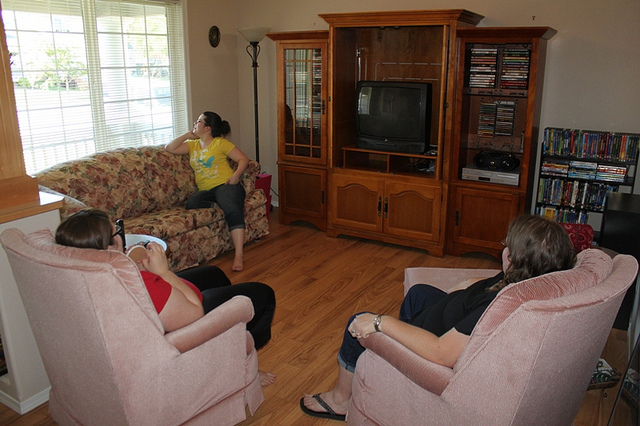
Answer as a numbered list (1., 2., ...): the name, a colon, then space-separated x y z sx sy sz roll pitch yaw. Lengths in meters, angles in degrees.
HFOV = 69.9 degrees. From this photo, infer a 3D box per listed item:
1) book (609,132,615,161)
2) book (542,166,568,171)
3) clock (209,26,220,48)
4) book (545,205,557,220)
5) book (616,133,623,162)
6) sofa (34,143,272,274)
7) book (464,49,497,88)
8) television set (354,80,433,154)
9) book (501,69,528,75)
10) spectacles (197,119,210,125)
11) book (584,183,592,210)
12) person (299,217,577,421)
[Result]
1. book: 2.588 -0.595 4.097 0.037 0.245 0.042 4 8 17
2. book: 2.185 -0.410 4.271 0.206 0.027 0.012 10 22 26
3. clock: -1.312 -2.187 5.668 0.042 0.242 0.173 8 21 22
4. book: 2.020 0.003 4.006 0.095 0.125 0.130 11 5 15
5. book: 2.651 -0.579 4.077 0.030 0.262 0.031 9 10 26
6. sofa: -1.470 -0.041 4.416 1.980 1.089 0.908 -15 24 -35
7. book: 1.536 -1.382 4.358 0.269 0.372 0.098 7 13 20
8. television set: 0.836 -1.053 4.947 0.859 0.752 0.487 12 23 34
9. book: 1.803 -1.307 4.243 0.218 0.045 0.016 8 22 23
10. spectacles: -1.195 -0.914 4.602 0.136 0.048 0.047 9 22 25
11. book: 2.456 -0.144 4.192 0.036 0.225 0.049 10 22 26
12. person: 0.631 0.604 2.612 0.998 0.979 0.715 24 31 39
